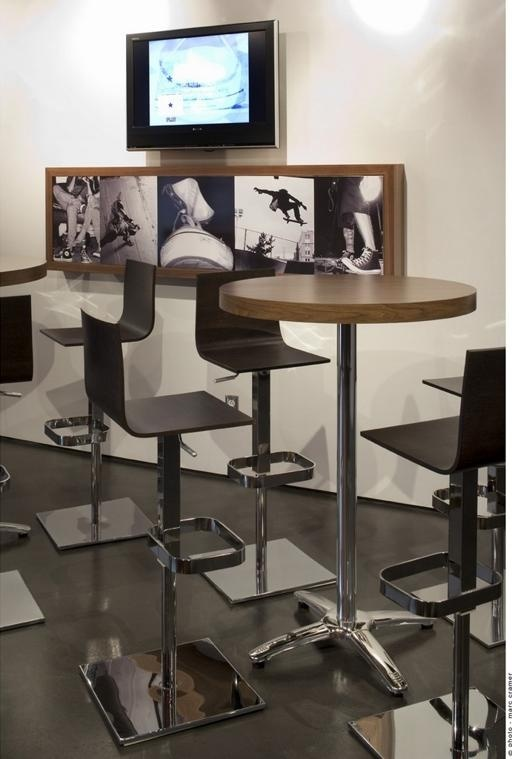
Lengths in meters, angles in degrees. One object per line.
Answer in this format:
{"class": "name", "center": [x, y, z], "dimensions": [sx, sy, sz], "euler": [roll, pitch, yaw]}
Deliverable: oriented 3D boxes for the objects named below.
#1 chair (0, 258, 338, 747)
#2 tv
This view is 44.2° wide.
{"class": "chair", "center": [-0.438, 0.103, 2.168], "dimensions": [0.700, 2.066, 0.805], "euler": [-4, 13, -21]}
{"class": "tv", "center": [-0.206, -1.072, 2.254], "dimensions": [0.548, 0.464, 0.060], "euler": [0, 5, 9]}
